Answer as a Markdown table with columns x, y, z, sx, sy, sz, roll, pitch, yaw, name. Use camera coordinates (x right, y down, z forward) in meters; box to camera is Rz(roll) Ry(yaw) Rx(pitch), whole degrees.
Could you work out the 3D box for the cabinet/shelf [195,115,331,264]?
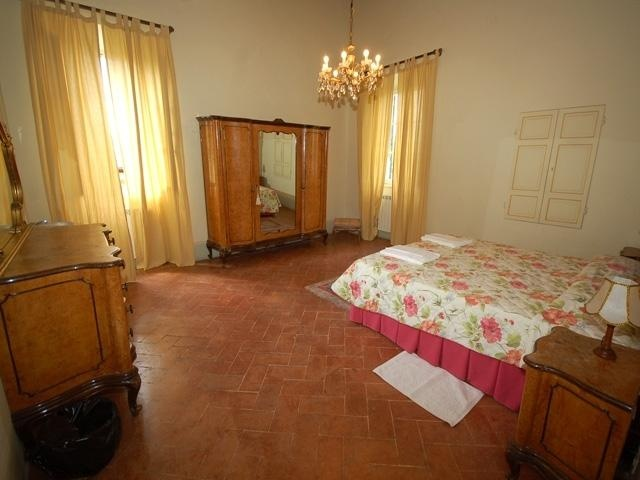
| x | y | z | sx | sy | sz | roll | pitch | yaw | name |
| --- | --- | --- | --- | --- | --- | --- | --- | --- | --- |
| -0.894 | -0.748 | 6.139 | 1.911 | 2.052 | 0.625 | -9 | 20 | -33 | cabinet/shelf |
